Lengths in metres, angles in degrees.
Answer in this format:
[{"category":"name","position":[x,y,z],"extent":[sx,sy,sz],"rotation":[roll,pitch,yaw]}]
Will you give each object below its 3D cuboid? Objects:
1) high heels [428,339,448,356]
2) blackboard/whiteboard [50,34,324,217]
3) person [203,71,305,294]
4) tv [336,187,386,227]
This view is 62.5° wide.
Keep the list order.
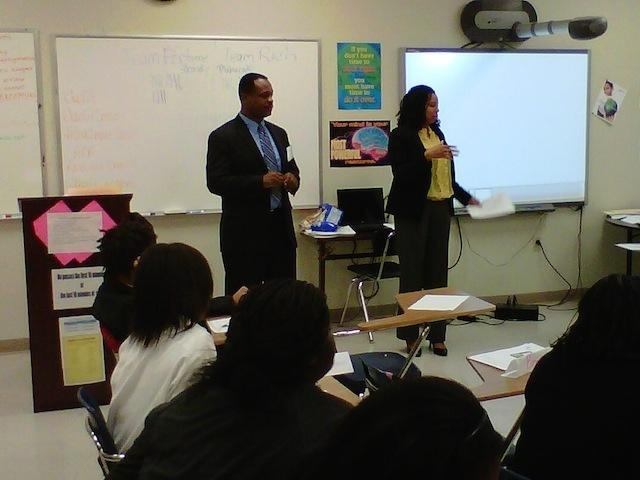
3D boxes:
[{"category":"high heels","position":[0.923,0.840,4.216],"extent":[0.068,0.082,0.196],"rotation":[0,0,-23]},{"category":"blackboard/whiteboard","position":[-1.168,-0.931,4.134],"extent":[1.479,1.032,0.107],"rotation":[-1,2,-14]},{"category":"person","position":[-0.432,-0.365,3.408],"extent":[0.577,1.371,0.415],"rotation":[-3,9,-6]},{"category":"tv","position":[0.369,-0.319,4.758],"extent":[0.492,0.377,0.308],"rotation":[-1,5,-11]}]
